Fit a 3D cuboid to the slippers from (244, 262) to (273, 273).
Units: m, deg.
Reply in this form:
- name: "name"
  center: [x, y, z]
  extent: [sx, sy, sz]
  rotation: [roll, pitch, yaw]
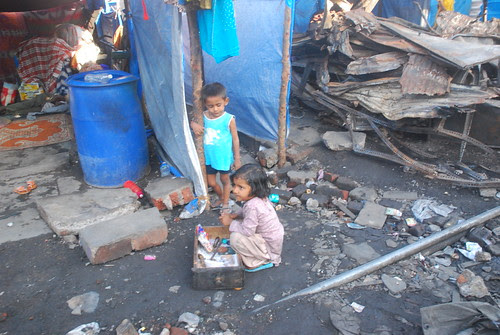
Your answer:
- name: "slippers"
  center: [0.132, 1.276, 4.633]
  extent: [0.276, 0.066, 0.150]
  rotation: [-4, 2, -22]

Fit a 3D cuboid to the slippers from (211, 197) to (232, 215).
- name: "slippers"
  center: [-0.429, 0.591, 5.514]
  extent: [0.318, 0.106, 0.182]
  rotation: [-14, 57, 3]

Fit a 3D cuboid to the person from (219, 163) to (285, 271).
- name: "person"
  center: [0.004, 0.688, 4.725]
  extent: [0.890, 1.343, 0.935]
  rotation: [8, 24, 17]

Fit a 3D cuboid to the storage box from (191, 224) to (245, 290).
- name: "storage box"
  center: [-0.416, 1.190, 4.700]
  extent: [0.545, 0.271, 0.822]
  rotation: [1, 29, -6]

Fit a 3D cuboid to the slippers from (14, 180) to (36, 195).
- name: "slippers"
  center: [-3.619, 0.320, 5.815]
  extent: [0.210, 0.103, 0.270]
  rotation: [18, 28, 33]

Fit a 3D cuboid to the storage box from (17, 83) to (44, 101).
- name: "storage box"
  center: [-5.670, -1.980, 9.264]
  extent: [0.586, 0.341, 0.470]
  rotation: [-14, 33, -19]

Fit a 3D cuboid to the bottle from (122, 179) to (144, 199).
- name: "bottle"
  center: [-1.866, 0.324, 5.782]
  extent: [0.380, 0.159, 0.225]
  rotation: [31, 33, 27]

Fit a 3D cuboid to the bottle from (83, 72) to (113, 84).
- name: "bottle"
  center: [-2.382, -1.413, 5.643]
  extent: [0.419, 0.050, 0.545]
  rotation: [-14, 32, -19]
